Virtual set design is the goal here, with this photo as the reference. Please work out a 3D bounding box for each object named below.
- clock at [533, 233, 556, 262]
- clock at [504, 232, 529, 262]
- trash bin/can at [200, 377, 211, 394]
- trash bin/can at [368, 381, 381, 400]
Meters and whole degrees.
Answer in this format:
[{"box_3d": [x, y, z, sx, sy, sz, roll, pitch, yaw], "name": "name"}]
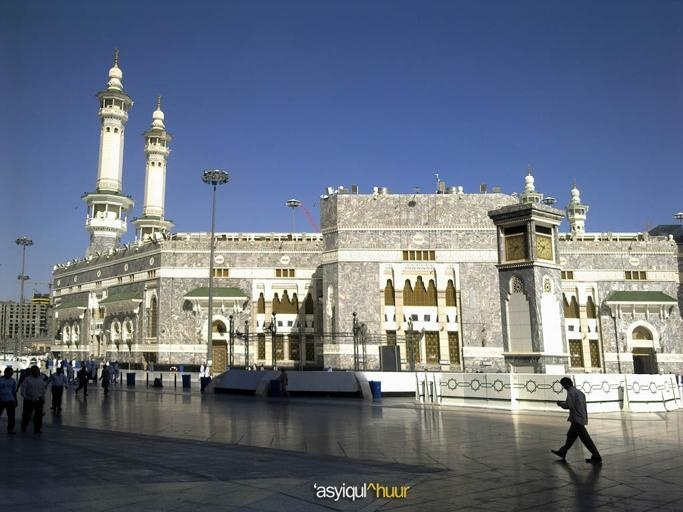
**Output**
[{"box_3d": [8.284, -0.332, 27.205, 0.059, 0.830, 1.196, -19, -14, 36], "name": "clock"}, {"box_3d": [7.150, -0.371, 27.244, 0.215, 1.127, 1.082, 8, -13, -42], "name": "clock"}, {"box_3d": [-7.043, 6.662, 34.568, 0.515, 0.737, 0.956, 0, -10, -11], "name": "trash bin/can"}, {"box_3d": [1.482, 6.108, 30.210, 0.647, 0.982, 0.648, -9, -10, 44], "name": "trash bin/can"}]
